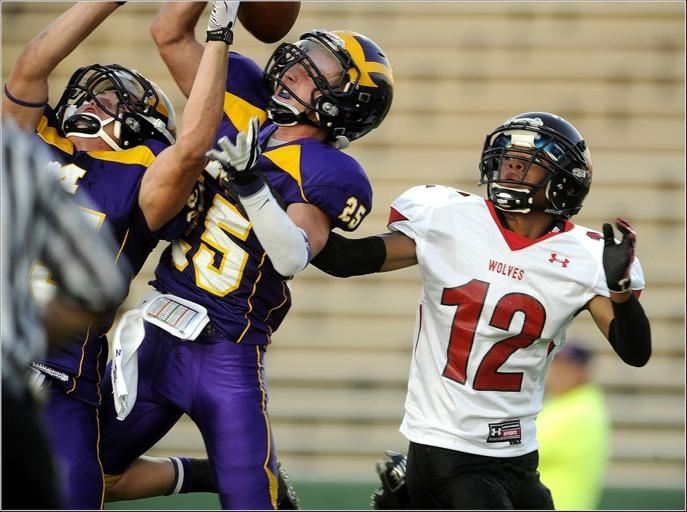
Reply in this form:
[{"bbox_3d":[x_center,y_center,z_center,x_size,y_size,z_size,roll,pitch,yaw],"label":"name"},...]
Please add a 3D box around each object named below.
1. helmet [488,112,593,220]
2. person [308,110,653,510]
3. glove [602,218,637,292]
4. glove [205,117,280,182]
[{"bbox_3d":[0.963,-0.387,5.533,0.549,0.430,0.415,26,-15,-34],"label":"helmet"},{"bbox_3d":[0.650,0.271,5.293,1.235,1.835,0.751,1,12,-2],"label":"person"},{"bbox_3d":[1.267,-0.004,5.179,0.153,0.317,0.200,5,12,13],"label":"glove"},{"bbox_3d":[-0.452,-0.422,4.879,0.316,0.117,0.319,-11,-9,-8],"label":"glove"}]
